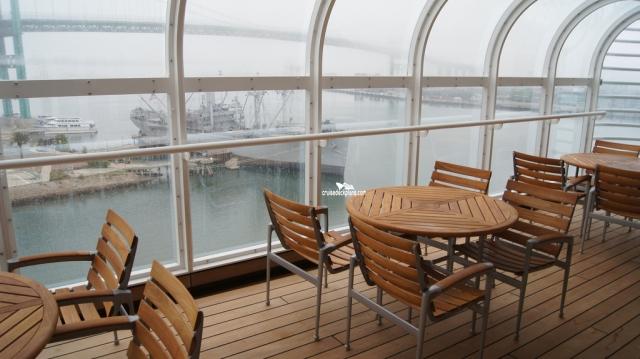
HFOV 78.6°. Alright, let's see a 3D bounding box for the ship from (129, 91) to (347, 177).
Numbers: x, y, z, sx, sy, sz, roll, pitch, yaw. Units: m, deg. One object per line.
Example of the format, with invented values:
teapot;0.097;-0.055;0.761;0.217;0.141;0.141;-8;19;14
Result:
ship;-0.907;-0.478;4.831;2.506;1.163;0.175;-8;14;-22
